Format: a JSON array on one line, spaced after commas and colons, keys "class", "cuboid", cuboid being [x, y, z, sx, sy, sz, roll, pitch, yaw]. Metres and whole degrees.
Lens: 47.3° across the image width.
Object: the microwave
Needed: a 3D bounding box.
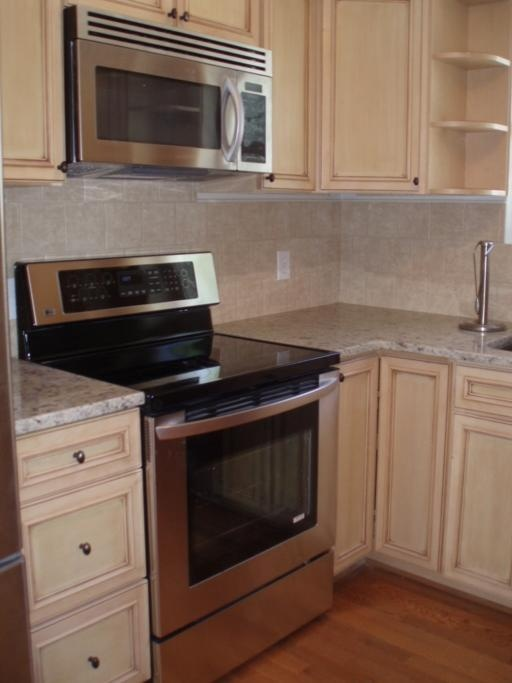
[{"class": "microwave", "cuboid": [-0.262, -0.634, 1.622, 0.319, 0.335, 0.686, 14, 20, 41]}]
